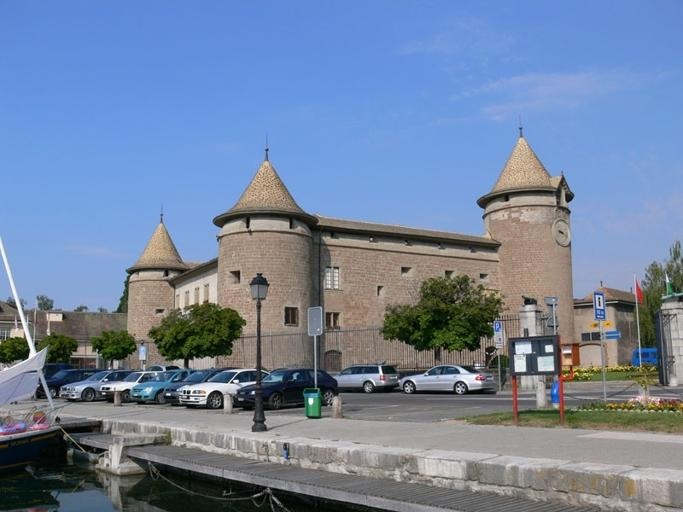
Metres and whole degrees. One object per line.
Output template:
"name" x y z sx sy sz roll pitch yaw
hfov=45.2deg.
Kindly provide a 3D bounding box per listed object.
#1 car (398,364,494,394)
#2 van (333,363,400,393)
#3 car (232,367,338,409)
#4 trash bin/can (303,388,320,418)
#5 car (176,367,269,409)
"car" 4.817 5.639 37.004 3.771 1.152 1.574 -1 -7 31
"van" 1.123 6.000 40.249 2.911 0.949 1.355 -2 -5 36
"car" -2.001 4.964 30.581 3.364 1.144 1.683 6 -12 -36
"trash bin/can" -0.937 4.551 25.299 0.514 0.605 0.447 -3 -2 13
"car" -4.497 5.271 31.714 3.640 1.180 1.757 4 -9 -38
